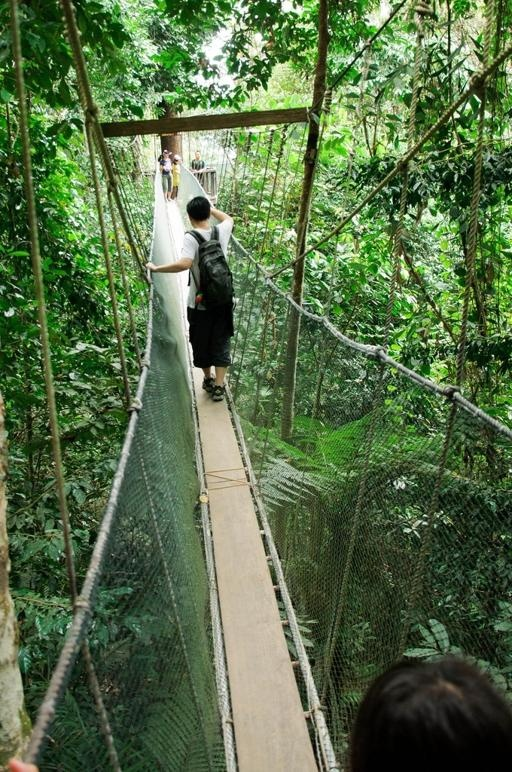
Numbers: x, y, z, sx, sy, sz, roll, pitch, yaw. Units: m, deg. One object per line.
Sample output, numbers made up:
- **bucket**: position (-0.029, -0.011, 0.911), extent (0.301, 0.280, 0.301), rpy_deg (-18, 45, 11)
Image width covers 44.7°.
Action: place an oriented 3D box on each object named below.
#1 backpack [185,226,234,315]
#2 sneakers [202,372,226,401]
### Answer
- **backpack**: position (-0.199, -0.560, 2.960), extent (0.273, 0.398, 0.243), rpy_deg (4, 10, -16)
- **sneakers**: position (-0.241, 0.007, 3.527), extent (0.148, 0.167, 0.356), rpy_deg (0, 3, -5)
